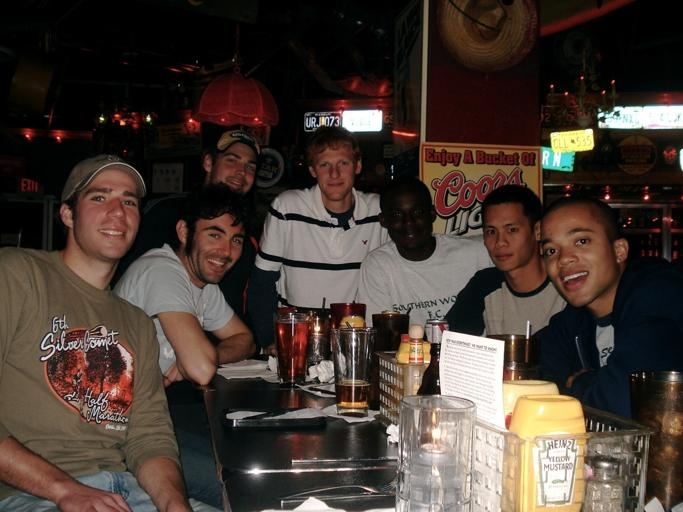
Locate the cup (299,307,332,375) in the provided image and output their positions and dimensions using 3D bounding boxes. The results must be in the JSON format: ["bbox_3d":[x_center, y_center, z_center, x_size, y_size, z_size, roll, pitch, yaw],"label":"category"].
[{"bbox_3d":[-0.099,0.396,2.817,0.197,0.329,0.206,-1,-8,0],"label":"cup"}]

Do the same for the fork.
[{"bbox_3d":[-0.004,0.589,1.519,0.338,0.051,0.049,-7,31,-7],"label":"fork"}]

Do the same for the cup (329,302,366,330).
[{"bbox_3d":[0.014,0.259,2.604,0.114,0.085,0.116,0,-2,0],"label":"cup"}]

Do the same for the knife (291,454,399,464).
[{"bbox_3d":[0.008,0.564,1.659,0.290,0.011,0.033,0,-1,-6],"label":"knife"}]

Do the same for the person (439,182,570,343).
[{"bbox_3d":[0.982,0.082,3.216,0.471,0.886,0.873,-8,12,-35],"label":"person"}]

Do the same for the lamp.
[{"bbox_3d":[-1.067,-1.727,6.227,0.677,0.772,0.679,2,7,-12],"label":"lamp"}]

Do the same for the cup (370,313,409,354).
[{"bbox_3d":[0.190,0.309,2.368,0.187,0.164,0.194,1,-5,0],"label":"cup"}]
